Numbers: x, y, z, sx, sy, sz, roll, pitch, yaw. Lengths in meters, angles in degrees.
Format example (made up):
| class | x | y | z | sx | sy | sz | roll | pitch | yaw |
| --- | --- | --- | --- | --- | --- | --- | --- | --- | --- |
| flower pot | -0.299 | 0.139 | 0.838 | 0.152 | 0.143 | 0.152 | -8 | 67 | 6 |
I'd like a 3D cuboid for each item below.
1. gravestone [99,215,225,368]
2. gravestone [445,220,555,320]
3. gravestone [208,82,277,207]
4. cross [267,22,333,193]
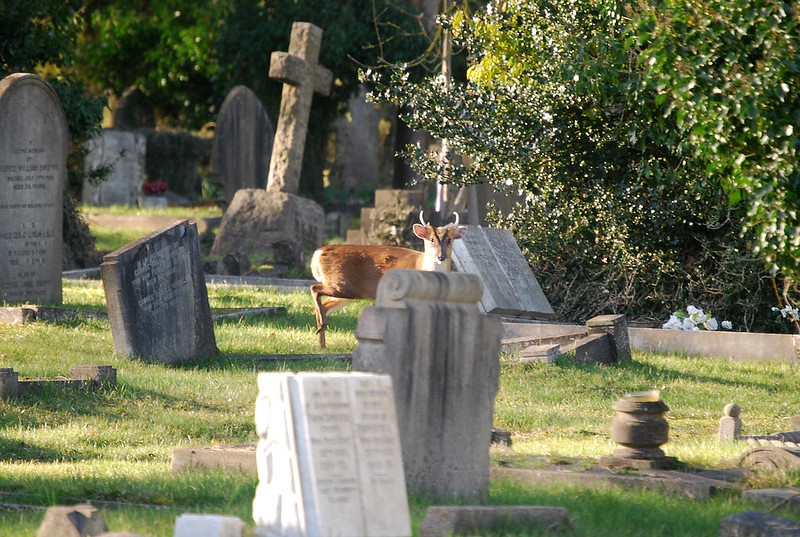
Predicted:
| class | x | y | z | sx | sy | sz | roll | pitch | yaw |
| --- | --- | --- | --- | --- | --- | --- | --- | --- | --- |
| gravestone | -4.145 | 0.520 | 35.666 | 0.355 | 2.269 | 2.017 | 1 | 12 | 38 |
| gravestone | 1.734 | 0.105 | 38.279 | 0.451 | 1.933 | 2.045 | -43 | -29 | 26 |
| gravestone | -3.634 | -2.777 | 47.796 | 1.871 | 2.841 | 0.279 | -12 | 17 | -40 |
| cross | -2.249 | -3.235 | 44.842 | 0.432 | 3.931 | 1.687 | 5 | -5 | 36 |
